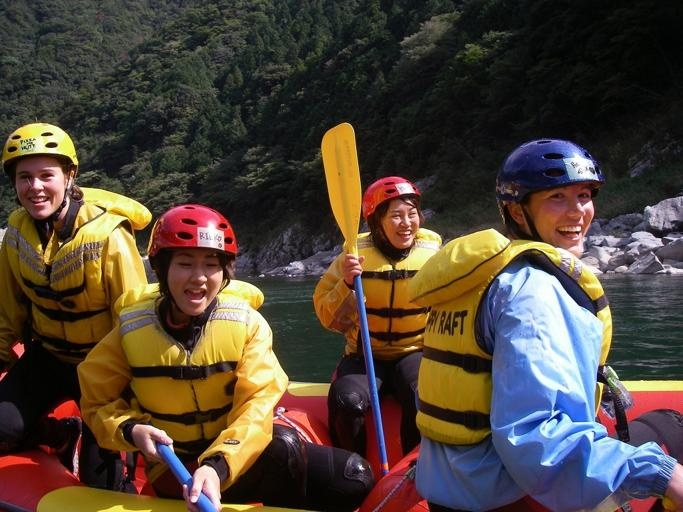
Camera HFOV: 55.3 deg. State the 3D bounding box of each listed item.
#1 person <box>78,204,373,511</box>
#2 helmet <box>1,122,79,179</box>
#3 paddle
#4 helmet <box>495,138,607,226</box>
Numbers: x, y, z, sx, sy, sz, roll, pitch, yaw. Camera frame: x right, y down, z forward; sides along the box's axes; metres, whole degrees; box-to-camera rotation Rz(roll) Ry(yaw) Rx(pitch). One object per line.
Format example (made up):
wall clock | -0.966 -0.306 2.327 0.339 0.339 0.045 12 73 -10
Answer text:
person | -0.601 0.507 3.072 1.116 1.512 0.810 0 4 34
helmet | -1.768 -0.670 3.870 0.311 0.327 0.401 -7 -25 -10
paddle | 0.115 0.336 4.308 0.296 2.671 0.102 -6 8 9
helmet | 0.822 -0.314 2.596 0.354 0.275 0.260 15 14 35
